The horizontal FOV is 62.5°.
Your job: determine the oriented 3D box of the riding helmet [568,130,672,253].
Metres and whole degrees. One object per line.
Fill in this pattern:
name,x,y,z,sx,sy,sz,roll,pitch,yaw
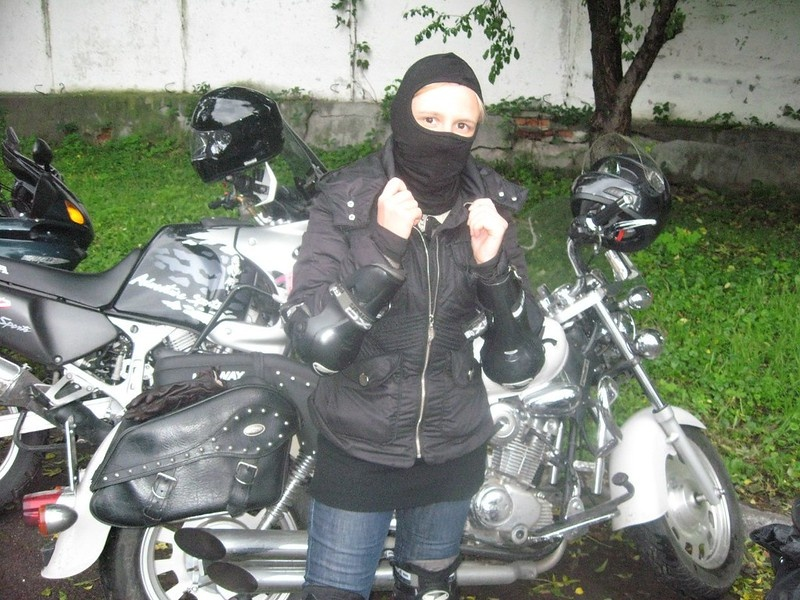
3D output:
riding helmet,1.263,-0.601,3.743,0.517,0.608,0.524,12,21,23

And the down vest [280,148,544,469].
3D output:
down vest,0.071,0.064,2.992,1.157,1.298,0.550,0,15,-16

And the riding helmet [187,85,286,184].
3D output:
riding helmet,-1.017,-1.046,3.989,0.585,0.521,0.449,-23,44,-20

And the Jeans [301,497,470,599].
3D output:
Jeans,-0.072,1.101,2.916,0.643,0.624,0.226,1,19,-25
